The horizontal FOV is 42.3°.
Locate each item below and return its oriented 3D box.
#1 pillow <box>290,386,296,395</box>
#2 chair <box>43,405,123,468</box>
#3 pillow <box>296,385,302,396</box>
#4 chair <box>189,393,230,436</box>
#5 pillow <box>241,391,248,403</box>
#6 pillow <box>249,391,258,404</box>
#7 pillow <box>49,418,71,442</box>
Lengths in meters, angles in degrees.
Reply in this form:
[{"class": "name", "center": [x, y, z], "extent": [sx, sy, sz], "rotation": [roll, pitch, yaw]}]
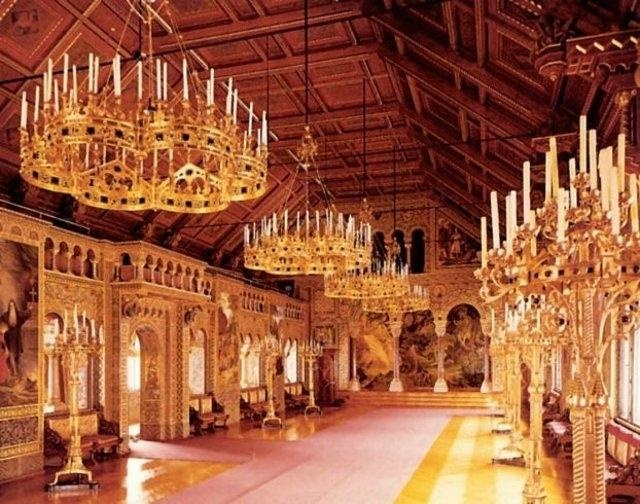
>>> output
[{"class": "pillow", "center": [-1.067, 5.504, 33.048], "extent": [0.100, 0.297, 0.320], "rotation": [-2, -7, 17]}, {"class": "chair", "center": [-5.460, 4.308, 18.973], "extent": [0.775, 1.117, 2.020], "rotation": [-5, -5, 25]}, {"class": "pillow", "center": [-0.841, 5.587, 33.718], "extent": [0.194, 0.363, 0.406], "rotation": [-3, -7, 18]}, {"class": "chair", "center": [-3.342, 4.790, 24.581], "extent": [0.617, 1.064, 1.768], "rotation": [0, -6, 19]}, {"class": "pillow", "center": [-2.550, 4.917, 28.418], "extent": [0.315, 0.449, 0.435], "rotation": [-1, -2, -22]}, {"class": "pillow", "center": [-2.328, 5.091, 29.281], "extent": [0.350, 0.515, 0.477], "rotation": [-1, -5, 9]}, {"class": "pillow", "center": [-5.808, 3.931, 18.473], "extent": [0.429, 0.501, 0.689], "rotation": [0, -4, -16]}]
